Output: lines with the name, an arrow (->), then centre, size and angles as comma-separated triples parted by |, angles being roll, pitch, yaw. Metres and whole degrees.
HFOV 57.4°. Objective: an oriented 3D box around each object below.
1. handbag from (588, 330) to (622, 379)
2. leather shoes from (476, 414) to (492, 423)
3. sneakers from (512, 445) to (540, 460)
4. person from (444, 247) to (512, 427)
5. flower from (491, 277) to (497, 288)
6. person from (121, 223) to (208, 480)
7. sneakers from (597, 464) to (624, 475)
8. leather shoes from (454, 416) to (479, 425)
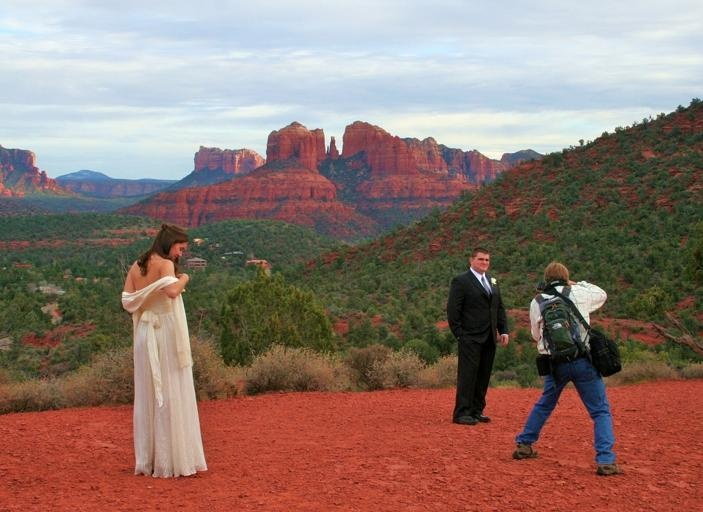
handbag -> 3.200, 1.200, 8.068 | 0.348, 0.584, 0.293 | -1, 2, 23
leather shoes -> 2.060, 2.473, 9.874 | 0.099, 0.094, 0.213 | 0, -6, -26
sneakers -> 2.229, 2.500, 8.238 | 0.151, 0.142, 0.306 | 3, 5, 44
person -> 1.946, 1.209, 9.841 | 0.886, 2.640, 0.473 | -1, 1, 8
flower -> 2.253, 0.412, 10.083 | 0.129, 0.154, 0.125 | -4, 36, 1
person -> -2.251, 1.095, 7.736 | 0.938, 2.976, 0.477 | -1, 1, -11
sneakers -> 3.095, 2.534, 7.672 | 0.322, 0.140, 0.123 | -1, -1, -15
leather shoes -> 1.735, 2.451, 9.702 | 0.319, 0.149, 0.148 | -2, 3, 12
